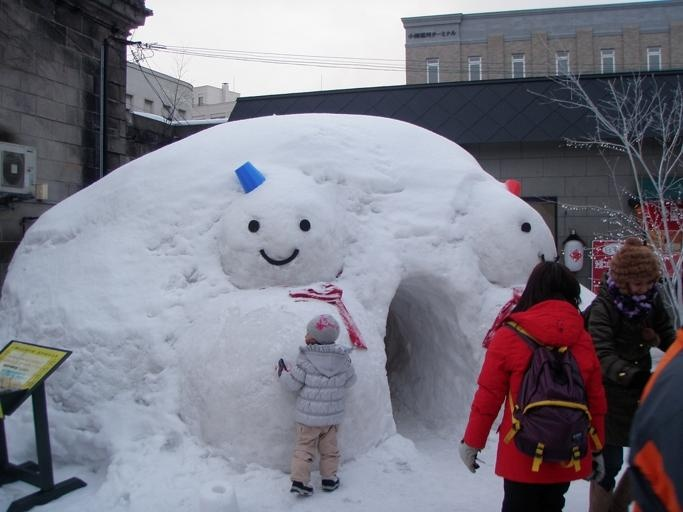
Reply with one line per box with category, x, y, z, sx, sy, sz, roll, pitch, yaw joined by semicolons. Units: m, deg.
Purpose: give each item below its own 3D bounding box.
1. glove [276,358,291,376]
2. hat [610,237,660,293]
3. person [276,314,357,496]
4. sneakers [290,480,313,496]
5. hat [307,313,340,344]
glove;-0.514;0.987;5.552;0.075;0.215;0.067;2;-18;-25
hat;2.256;0.089;4.795;0.343;0.478;0.442;-2;9;4
person;-0.214;1.264;5.435;0.700;1.491;0.472;1;3;-7
sneakers;-0.338;1.956;5.228;0.225;0.123;0.085;14;-12;-12
hat;-0.148;0.663;5.483;0.250;0.239;0.235;11;-21;-23
